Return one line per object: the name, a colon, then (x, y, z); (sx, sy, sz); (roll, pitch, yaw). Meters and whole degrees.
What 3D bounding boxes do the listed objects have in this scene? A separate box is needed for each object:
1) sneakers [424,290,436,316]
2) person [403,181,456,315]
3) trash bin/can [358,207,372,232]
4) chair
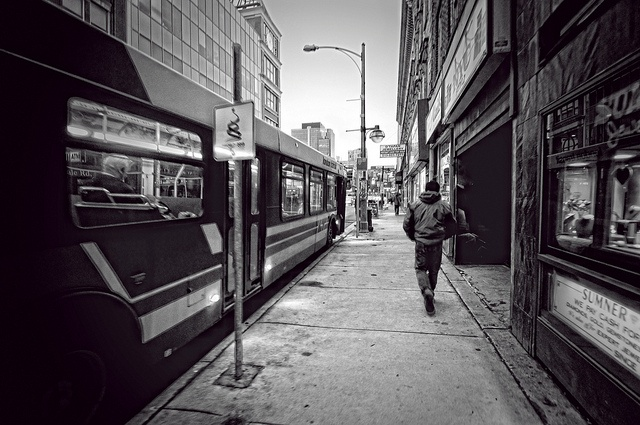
sneakers: (1.730, 1.431, 7.426); (0.179, 0.390, 0.192); (-1, 4, 7)
person: (1.740, 0.534, 7.791); (0.842, 2.097, 0.835); (2, 6, 40)
trash bin/can: (1.772, 0.290, 18.002); (0.685, 1.150, 0.741); (-1, -2, 0)
chair: (-2.341, -0.051, 5.750); (1.165, 0.458, 0.678); (3, 0, -30)
